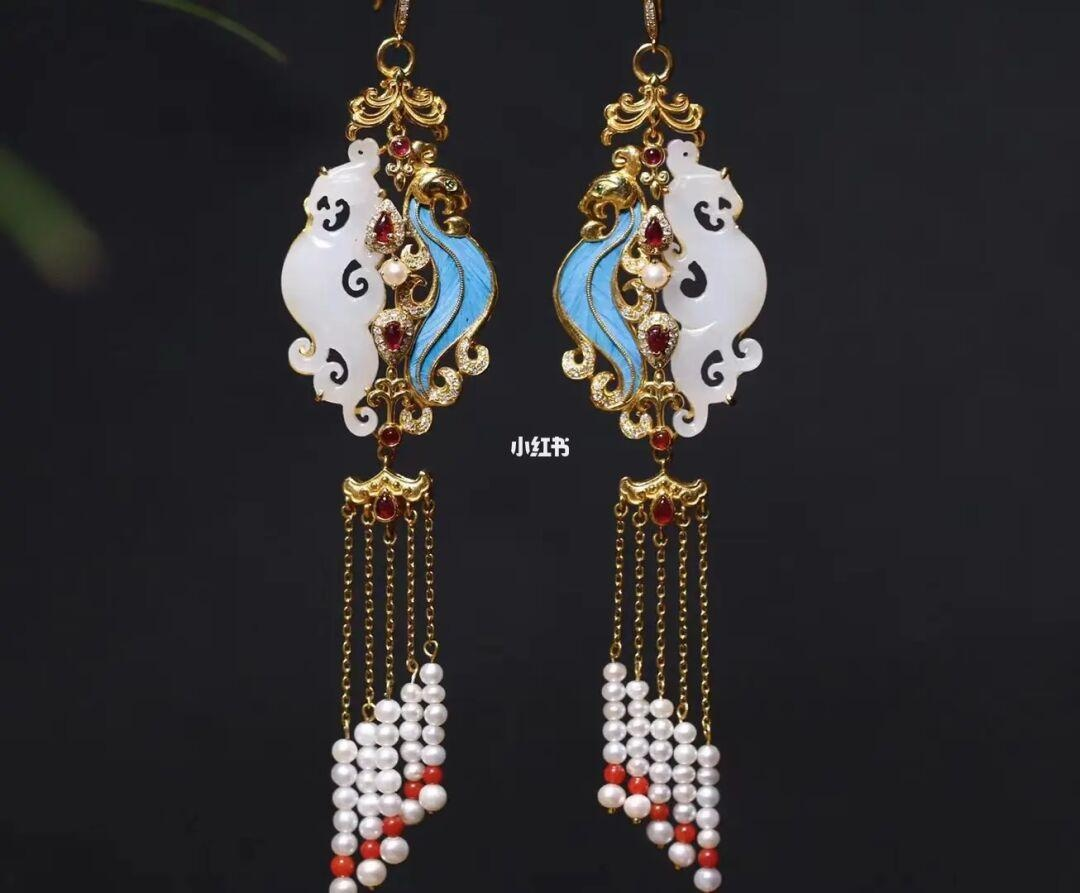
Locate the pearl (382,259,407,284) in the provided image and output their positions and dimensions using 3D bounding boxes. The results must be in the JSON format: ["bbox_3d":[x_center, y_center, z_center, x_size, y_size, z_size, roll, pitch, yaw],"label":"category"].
[{"bbox_3d":[-0.351,-0.413,5.865,0.056,0.059,0.035,-4,0,-4],"label":"pearl"}]

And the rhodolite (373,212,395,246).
[{"bbox_3d":[-0.371,-0.517,5.861,0.055,0.078,0.027,1,3,-3],"label":"rhodolite"}]

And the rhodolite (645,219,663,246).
[{"bbox_3d":[0.273,-0.506,5.843,0.048,0.059,0.022,12,25,4],"label":"rhodolite"}]

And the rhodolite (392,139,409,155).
[{"bbox_3d":[-0.337,-0.713,5.881,0.049,0.042,0.019,7,25,-6],"label":"rhodolite"}]

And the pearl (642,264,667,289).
[{"bbox_3d":[0.273,-0.404,5.852,0.056,0.057,0.034,-34,-2,-1],"label":"pearl"}]

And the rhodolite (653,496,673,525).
[{"bbox_3d":[0.294,0.152,5.876,0.046,0.062,0.026,2,-10,-2],"label":"rhodolite"}]

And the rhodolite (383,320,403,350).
[{"bbox_3d":[-0.355,-0.267,5.868,0.047,0.069,0.016,2,1,-2],"label":"rhodolite"}]

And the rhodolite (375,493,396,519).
[{"bbox_3d":[-0.370,0.148,5.881,0.053,0.056,0.031,10,25,0],"label":"rhodolite"}]
